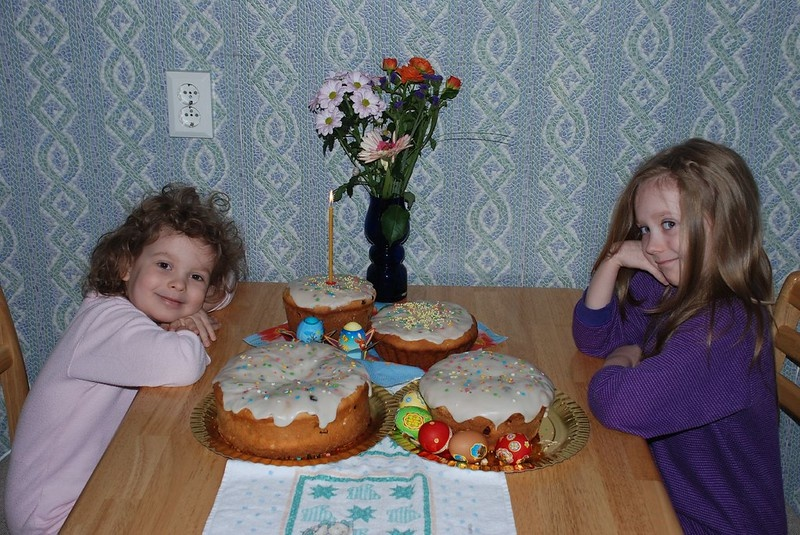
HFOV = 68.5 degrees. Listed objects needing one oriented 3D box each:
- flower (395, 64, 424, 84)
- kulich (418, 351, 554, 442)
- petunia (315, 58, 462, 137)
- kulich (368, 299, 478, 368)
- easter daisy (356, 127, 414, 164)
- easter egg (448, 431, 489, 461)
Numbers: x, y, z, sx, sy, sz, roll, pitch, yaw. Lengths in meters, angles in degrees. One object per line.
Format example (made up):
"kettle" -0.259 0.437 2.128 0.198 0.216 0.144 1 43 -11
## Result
"flower" 0.029 -0.657 2.027 0.063 0.044 0.067 11 -2 -12
"kulich" 0.238 0.301 1.636 0.343 0.196 0.333 2 16 8
"petunia" -0.059 -0.614 2.119 0.515 0.327 0.267 4 3 -6
"kulich" 0.089 0.175 1.891 0.300 0.194 0.367 1 13 10
"easter daisy" -0.056 -0.417 2.049 0.172 0.106 0.116 4 3 3
"easter egg" 0.166 0.452 1.444 0.070 0.058 0.072 7 12 35
